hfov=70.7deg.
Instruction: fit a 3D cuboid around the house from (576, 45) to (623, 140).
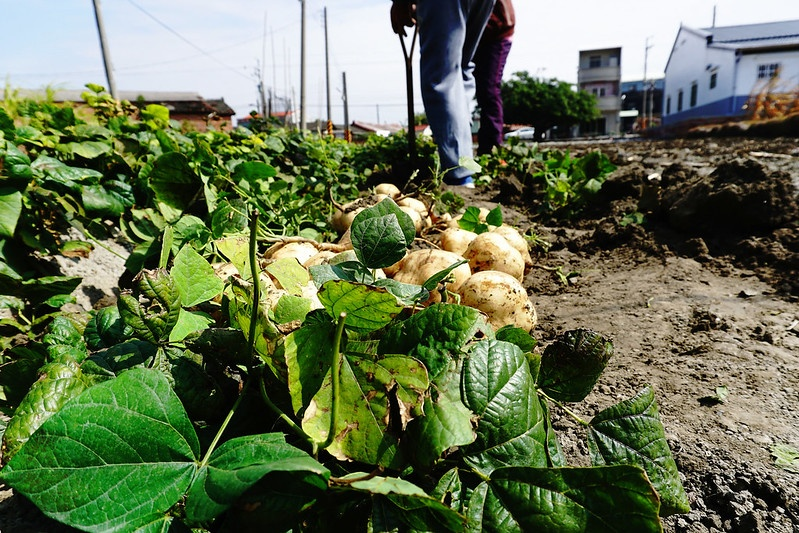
[{"bbox_3d":[19.675,-17.448,55.118,4.303,8.397,10.147,7,16,17],"label":"house"}]
